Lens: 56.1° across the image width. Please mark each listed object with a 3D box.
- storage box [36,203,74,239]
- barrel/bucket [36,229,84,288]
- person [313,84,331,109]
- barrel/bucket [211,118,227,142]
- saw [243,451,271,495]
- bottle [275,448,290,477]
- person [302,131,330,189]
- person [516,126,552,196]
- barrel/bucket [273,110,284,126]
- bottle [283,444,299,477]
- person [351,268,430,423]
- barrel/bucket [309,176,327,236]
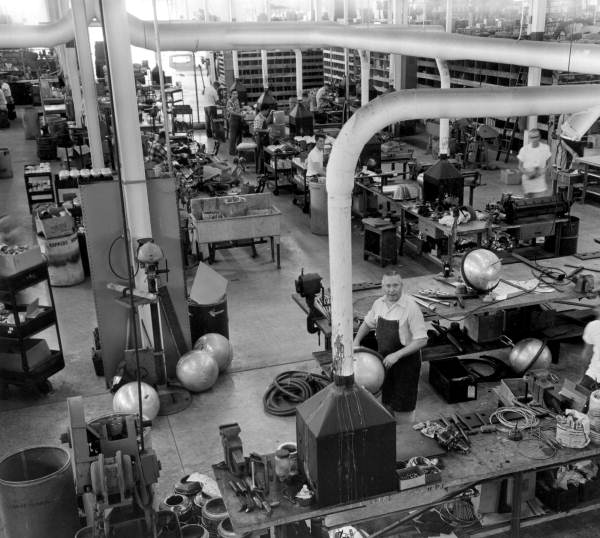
[{"bbox_3d":[-4.200,-0.822,9.610,0.582,0.433,0.830,-13,20,-29],"label":"storage box"},{"bbox_3d":[-3.882,-0.169,9.057,0.712,0.965,0.559,-4,26,-6],"label":"barrel/bucket"},{"bbox_3d":[0.816,-6.403,20.823,0.261,0.954,0.909,14,-5,-14],"label":"person"},{"bbox_3d":[-2.770,-4.826,19.717,0.460,0.811,0.707,-5,17,-8],"label":"barrel/bucket"},{"bbox_3d":[-0.268,1.332,3.722,0.153,0.210,0.079,-3,-5,32],"label":"saw"},{"bbox_3d":[-0.117,1.275,3.760,0.103,0.162,0.142,-4,17,-2],"label":"bottle"},{"bbox_3d":[0.345,-2.258,12.118,0.495,1.204,1.374,-3,17,1],"label":"person"},{"bbox_3d":[4.424,-2.004,10.633,0.549,1.241,0.836,4,18,23],"label":"person"},{"bbox_3d":[-0.621,-4.547,17.036,0.400,0.329,0.882,-3,18,-1],"label":"barrel/bucket"},{"bbox_3d":[-0.076,1.316,3.900,0.104,0.178,0.170,-6,18,-14],"label":"bottle"},{"bbox_3d":[0.920,0.785,5.659,0.719,1.571,0.578,7,20,31],"label":"person"},{"bbox_3d":[0.380,-1.275,11.684,0.331,1.188,0.526,-3,17,1],"label":"barrel/bucket"}]
